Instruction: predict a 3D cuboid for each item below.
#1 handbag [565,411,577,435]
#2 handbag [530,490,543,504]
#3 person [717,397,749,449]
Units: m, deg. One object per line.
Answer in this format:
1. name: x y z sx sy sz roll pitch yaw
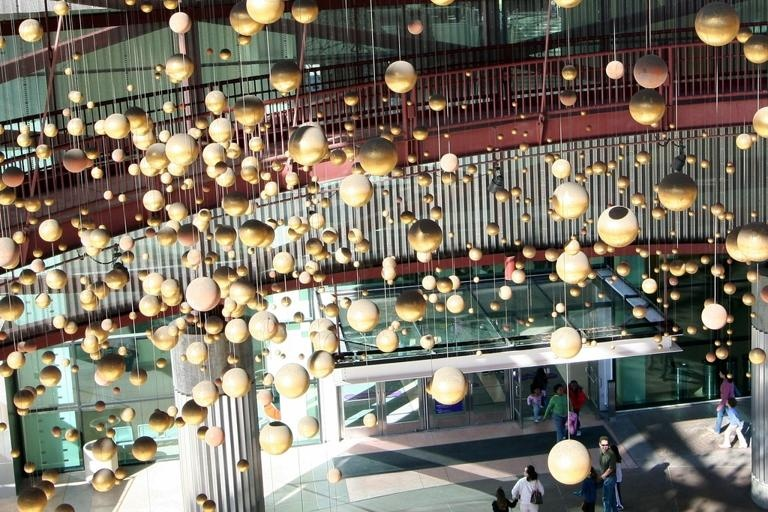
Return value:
1. handbag: 3.496 3.153 21.262 0.188 0.419 0.412 2 -1 22
2. handbag: 2.455 3.963 18.574 0.263 0.230 0.096 4 -6 -44
3. person: 6.524 3.057 21.411 0.471 0.302 0.812 16 -61 24
